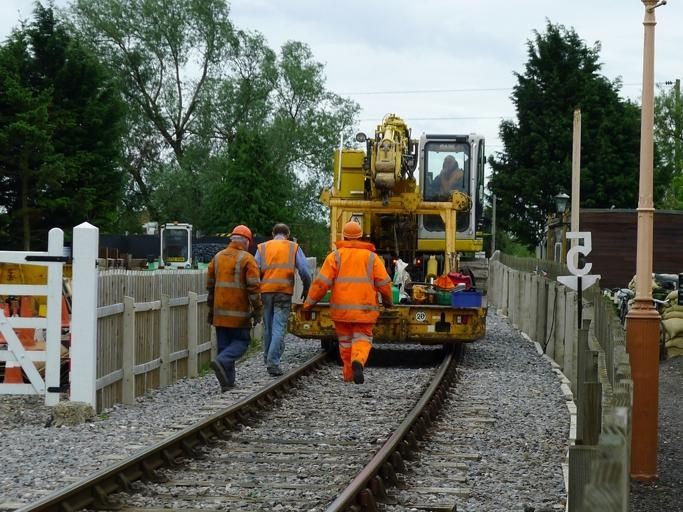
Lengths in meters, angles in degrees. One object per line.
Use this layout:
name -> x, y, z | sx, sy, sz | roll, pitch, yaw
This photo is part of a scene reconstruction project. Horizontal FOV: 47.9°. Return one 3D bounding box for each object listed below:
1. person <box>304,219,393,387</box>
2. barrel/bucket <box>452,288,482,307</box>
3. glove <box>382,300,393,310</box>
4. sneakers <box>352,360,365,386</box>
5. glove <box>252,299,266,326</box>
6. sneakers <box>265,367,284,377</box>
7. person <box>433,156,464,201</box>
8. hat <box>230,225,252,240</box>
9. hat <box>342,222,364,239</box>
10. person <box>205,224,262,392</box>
person -> 0.151, 0.660, 11.080 | 0.991, 2.298, 0.889 | 2, 1, 38
barrel/bucket -> 2.252, 0.745, 13.745 | 0.280, 0.224, 0.407 | 1, -3, -40
glove -> 0.672, 0.703, 11.193 | 0.127, 0.136, 0.112 | -4, 3, 13
sneakers -> 0.239, 1.596, 10.569 | 0.132, 0.339, 0.212 | -3, -7, 7
glove -> -1.204, 0.781, 10.971 | 0.135, 0.380, 0.243 | 1, 1, -7
sneakers -> -1.053, 1.835, 12.328 | 0.259, 0.173, 0.312 | 1, 1, -5
person -> 2.524, -1.787, 18.078 | 0.626, 1.011, 0.396 | 2, -7, 20
hat -> -1.458, -0.346, 11.329 | 0.213, 0.141, 0.292 | 2, 0, 7
hat -> 0.170, -0.368, 11.093 | 0.194, 0.241, 0.263 | 1, 2, -4
person -> -1.571, 0.751, 11.184 | 0.761, 2.390, 0.879 | 1, 1, -11
